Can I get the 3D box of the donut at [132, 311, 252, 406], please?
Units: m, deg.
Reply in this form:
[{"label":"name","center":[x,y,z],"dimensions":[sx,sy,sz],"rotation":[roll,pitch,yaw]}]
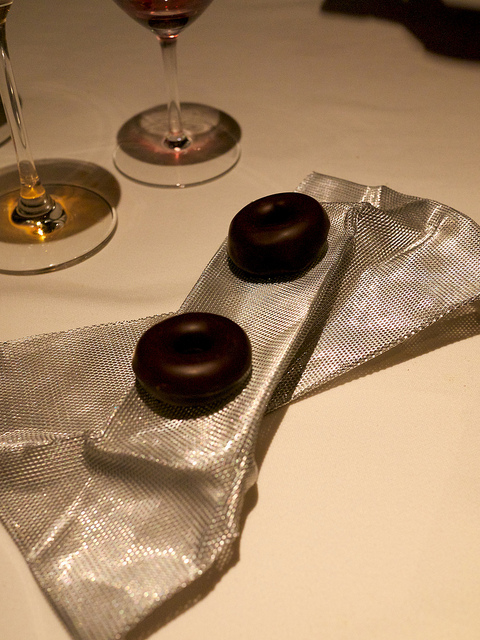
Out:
[{"label":"donut","center":[-0.019,0.020,0.347],"dimensions":[0.082,0.029,0.075],"rotation":[-3,-11,-41]}]
